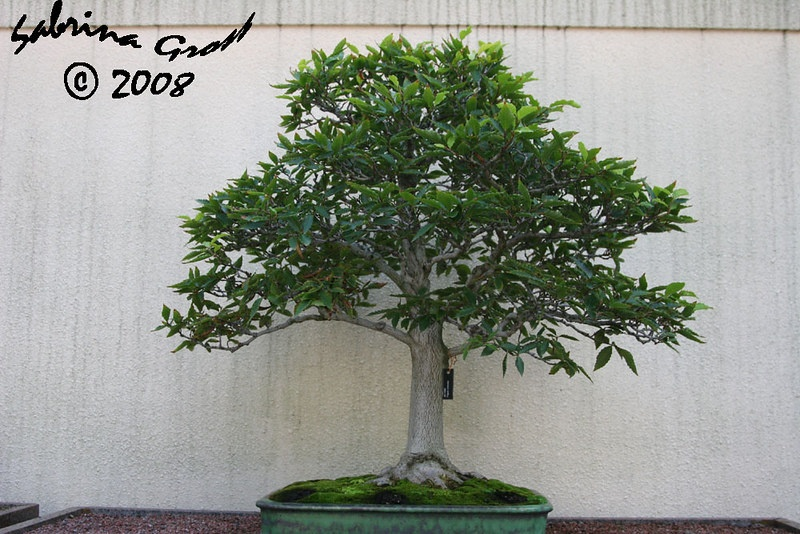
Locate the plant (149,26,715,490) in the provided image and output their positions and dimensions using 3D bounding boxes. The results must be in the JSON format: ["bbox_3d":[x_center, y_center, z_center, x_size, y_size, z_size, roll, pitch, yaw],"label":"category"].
[{"bbox_3d":[-0.057,0.006,10.238,4.777,3.018,2.776,1,-8,-1],"label":"plant"}]
